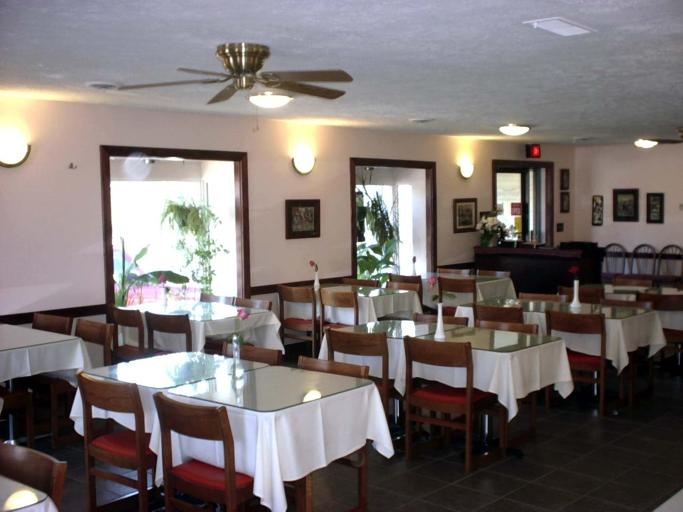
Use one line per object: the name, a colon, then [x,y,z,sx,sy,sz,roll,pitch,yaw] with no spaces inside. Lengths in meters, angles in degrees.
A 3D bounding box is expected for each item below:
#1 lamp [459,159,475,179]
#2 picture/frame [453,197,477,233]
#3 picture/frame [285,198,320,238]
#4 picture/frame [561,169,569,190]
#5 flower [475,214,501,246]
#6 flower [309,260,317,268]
lamp: [2.223,-1.548,9.923,0.311,0.312,0.072,2,2,-44]
picture/frame: [2.208,-0.746,10.030,0.045,0.630,0.625,2,4,42]
picture/frame: [-0.570,-0.535,7.754,0.542,0.523,0.040,-4,7,-38]
picture/frame: [4.792,-1.660,11.946,0.048,0.462,0.432,5,8,41]
flower: [2.730,-0.441,10.184,0.607,0.630,0.525,1,0,20]
flower: [-0.369,0.099,7.282,0.092,0.097,0.084,-4,2,-41]
